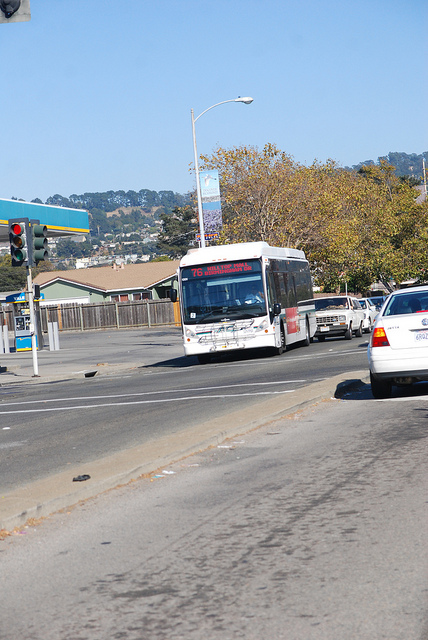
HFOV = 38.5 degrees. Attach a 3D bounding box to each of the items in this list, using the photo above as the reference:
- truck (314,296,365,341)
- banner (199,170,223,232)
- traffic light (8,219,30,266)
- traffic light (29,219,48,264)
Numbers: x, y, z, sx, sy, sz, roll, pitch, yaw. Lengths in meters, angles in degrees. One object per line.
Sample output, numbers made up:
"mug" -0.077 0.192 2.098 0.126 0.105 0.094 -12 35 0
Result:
"truck" 6.687 -0.126 32.974 2.448 1.992 4.987 -7 2 18
"banner" -0.153 -6.471 32.927 1.148 3.021 0.031 -14 25 -19
"traffic light" -6.525 -2.600 20.760 0.617 1.593 0.635 -7 2 11
"traffic light" -5.870 -2.667 20.653 0.520 1.496 1.126 -9 2 -40
